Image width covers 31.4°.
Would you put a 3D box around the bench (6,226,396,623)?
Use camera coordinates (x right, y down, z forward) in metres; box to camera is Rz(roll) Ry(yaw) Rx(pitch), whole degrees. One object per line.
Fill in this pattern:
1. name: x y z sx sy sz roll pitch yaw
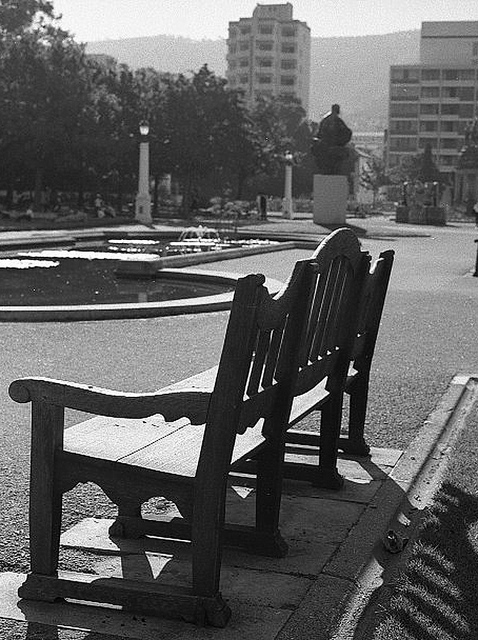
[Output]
1. bench: -0.083 0.214 3.029 0.824 1.066 1.722 2 6 20

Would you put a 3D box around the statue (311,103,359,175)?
1. statue: 4.233 -7.716 36.527 1.864 3.014 1.701 4 8 22
